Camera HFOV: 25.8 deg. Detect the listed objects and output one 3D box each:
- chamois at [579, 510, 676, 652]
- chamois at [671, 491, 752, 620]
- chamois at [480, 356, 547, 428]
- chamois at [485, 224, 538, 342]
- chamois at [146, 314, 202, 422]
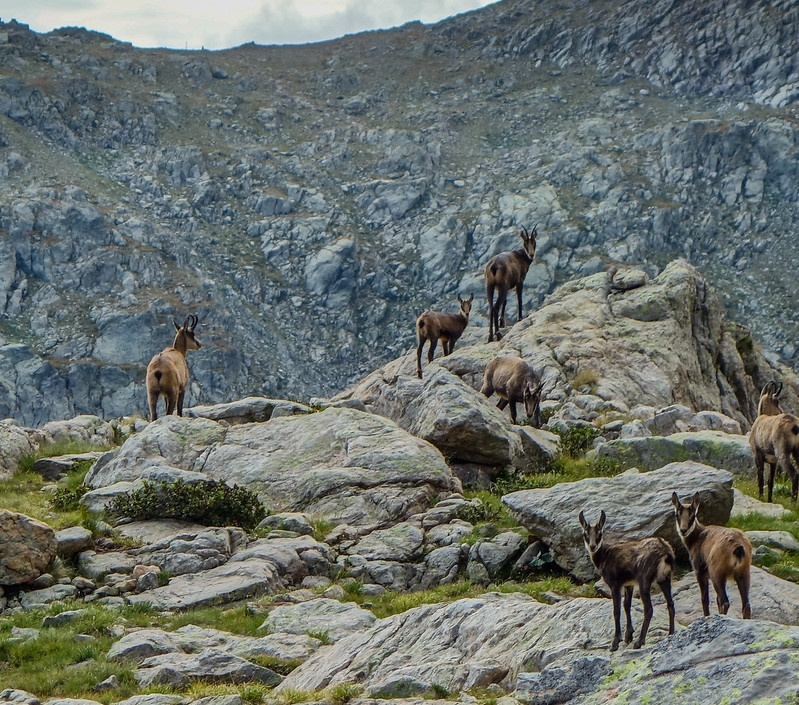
[{"bbox_3d":[18.557,17.560,136.448,6.901,10.844,6.592,-5,-7,18],"label":"chamois"},{"bbox_3d":[24.556,16.395,136.890,3.058,10.821,9.881,0,-2,-18],"label":"chamois"},{"bbox_3d":[9.941,3.408,149.404,2.882,5.663,10.207,-6,15,-24],"label":"chamois"},{"bbox_3d":[9.616,-6.515,155.367,3.901,11.438,3.386,-2,4,-9],"label":"chamois"},{"bbox_3d":[-19.464,1.824,151.112,2.672,10.074,8.876,2,4,13],"label":"chamois"}]
